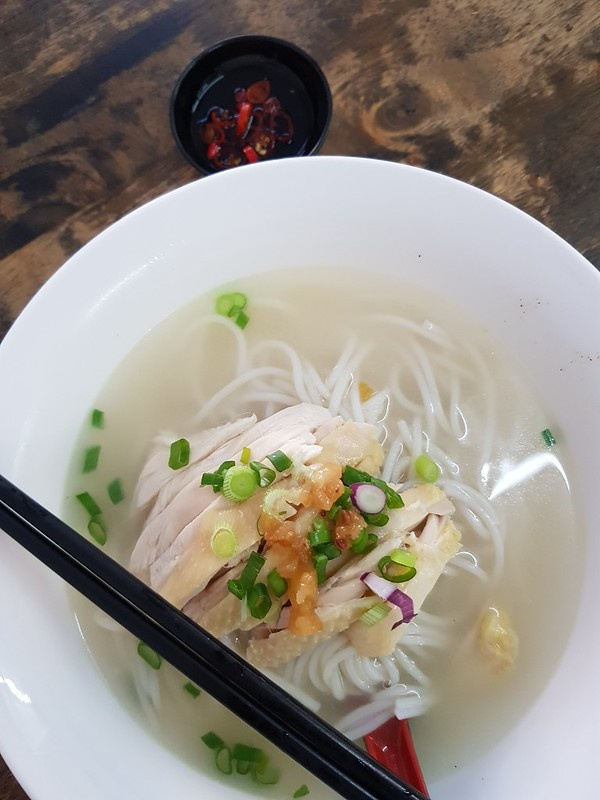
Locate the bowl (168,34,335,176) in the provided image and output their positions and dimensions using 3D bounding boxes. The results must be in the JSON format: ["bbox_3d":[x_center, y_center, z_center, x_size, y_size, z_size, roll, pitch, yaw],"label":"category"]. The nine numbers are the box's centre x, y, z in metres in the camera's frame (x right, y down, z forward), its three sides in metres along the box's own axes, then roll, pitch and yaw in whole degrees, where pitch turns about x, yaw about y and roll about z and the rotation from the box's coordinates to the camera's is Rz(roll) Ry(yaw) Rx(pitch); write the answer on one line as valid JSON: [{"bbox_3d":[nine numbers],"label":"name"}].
[{"bbox_3d":[-0.181,-0.979,2.554,0.530,0.186,0.397,-21,77,-3],"label":"bowl"}]
